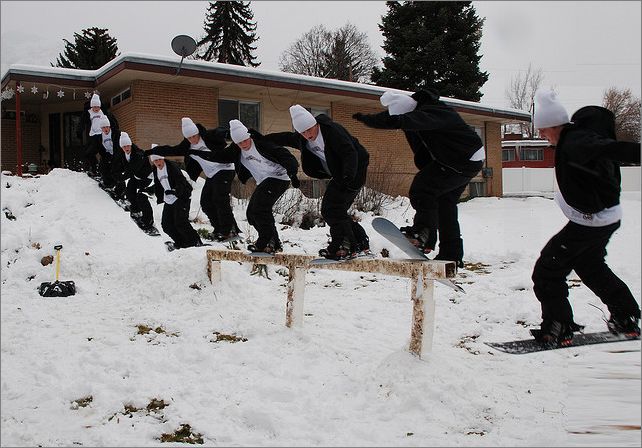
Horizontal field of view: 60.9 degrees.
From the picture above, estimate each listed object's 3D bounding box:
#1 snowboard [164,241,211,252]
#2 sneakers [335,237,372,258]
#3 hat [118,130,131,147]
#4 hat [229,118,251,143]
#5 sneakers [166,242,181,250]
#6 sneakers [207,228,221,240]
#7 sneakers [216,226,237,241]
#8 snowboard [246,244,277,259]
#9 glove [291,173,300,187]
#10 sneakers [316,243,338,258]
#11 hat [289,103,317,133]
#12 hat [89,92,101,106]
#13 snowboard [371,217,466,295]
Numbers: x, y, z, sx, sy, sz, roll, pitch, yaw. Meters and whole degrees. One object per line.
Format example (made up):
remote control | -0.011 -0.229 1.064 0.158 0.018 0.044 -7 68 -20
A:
snowboard | -2.618 0.440 10.631 0.838 0.176 0.151 3 17 37
sneakers | 0.486 0.353 7.675 0.209 0.274 0.578 -32 -25 36
hat | -4.368 -1.881 12.177 0.240 0.366 0.509 0 4 -19
hat | -1.247 -1.431 8.413 0.273 0.369 0.300 -33 -24 -22
sneakers | -3.094 0.458 11.243 0.187 0.112 0.309 -1 -10 -19
sneakers | -1.888 0.195 9.484 0.194 0.249 0.634 0 -6 -13
sneakers | -1.523 0.163 9.155 0.471 0.203 0.175 -1 4 25
snowboard | -0.889 0.413 8.217 0.517 0.219 0.168 -1 7 -8
glove | -0.376 -0.618 7.927 0.120 0.200 0.049 -5 19 19
sneakers | 0.082 0.371 7.572 0.369 0.223 0.091 5 6 40
hat | -0.252 -1.436 7.789 0.359 0.303 0.433 24 -33 20
hat | -5.552 -3.044 13.383 0.229 0.361 0.323 0 5 -22
snowboard | 1.429 0.527 8.069 1.680 0.168 0.452 42 -30 -18
